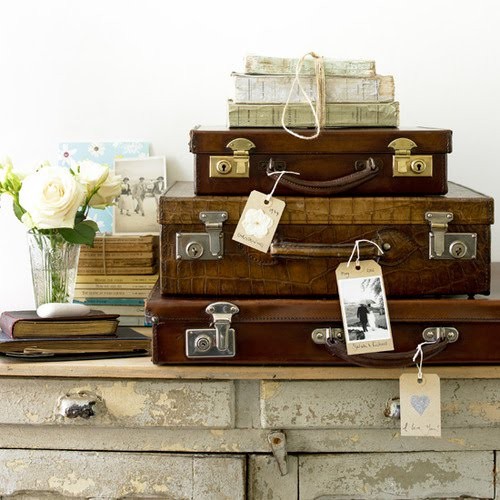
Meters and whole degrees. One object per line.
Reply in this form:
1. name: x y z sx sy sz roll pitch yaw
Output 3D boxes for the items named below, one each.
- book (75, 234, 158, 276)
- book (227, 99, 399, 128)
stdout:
1. book: -0.337 0.016 1.741 0.190 0.069 0.120 -1 4 -4
2. book: 0.142 -0.302 1.434 0.376 0.065 0.038 1 2 2
